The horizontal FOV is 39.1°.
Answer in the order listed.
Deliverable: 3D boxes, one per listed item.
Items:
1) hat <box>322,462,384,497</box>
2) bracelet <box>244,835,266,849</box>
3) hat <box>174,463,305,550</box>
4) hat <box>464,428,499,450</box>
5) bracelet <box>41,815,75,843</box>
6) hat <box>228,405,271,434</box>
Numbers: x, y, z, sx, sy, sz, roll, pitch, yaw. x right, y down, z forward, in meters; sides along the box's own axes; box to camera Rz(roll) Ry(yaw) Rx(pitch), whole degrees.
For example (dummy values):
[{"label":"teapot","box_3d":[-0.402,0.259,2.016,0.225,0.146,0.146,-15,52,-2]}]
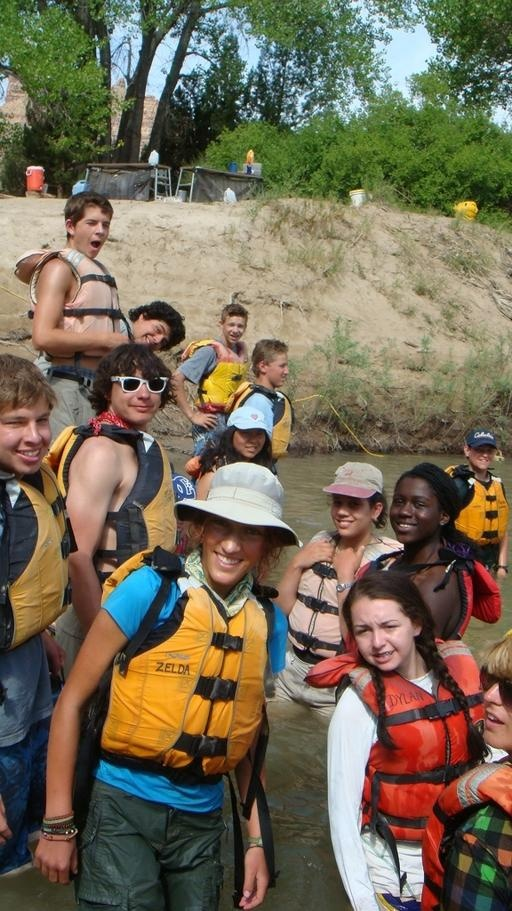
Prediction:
[{"label":"hat","box_3d":[0.584,0.155,4.095,0.210,0.140,0.277,-3,-11,34]},{"label":"bracelet","box_3d":[-0.007,1.273,2.386,0.050,0.032,0.038,-3,-12,41]},{"label":"hat","box_3d":[-0.035,0.144,2.417,0.298,0.176,0.324,9,-28,11]},{"label":"hat","box_3d":[2.253,-0.156,7.198,0.272,0.203,0.326,12,9,18]},{"label":"bracelet","box_3d":[-0.557,1.032,1.999,0.065,0.053,0.086,-1,-4,5]},{"label":"hat","box_3d":[-0.044,-0.238,4.887,0.279,0.156,0.294,9,8,-3]}]
